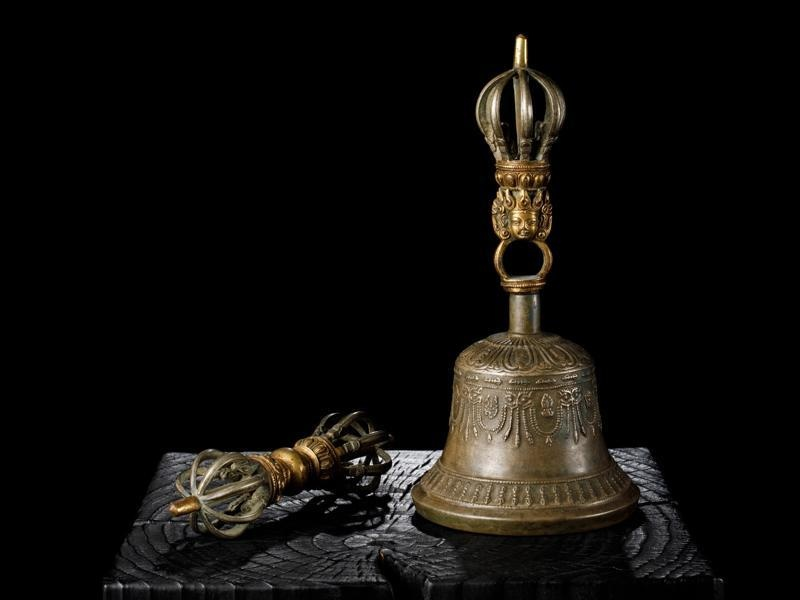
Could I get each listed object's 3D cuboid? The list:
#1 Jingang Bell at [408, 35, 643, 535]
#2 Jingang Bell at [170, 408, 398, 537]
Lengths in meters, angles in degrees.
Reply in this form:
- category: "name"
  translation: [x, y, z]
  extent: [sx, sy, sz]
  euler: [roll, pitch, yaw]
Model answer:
- category: "Jingang Bell"
  translation: [0.277, -0.025, 1.987]
  extent: [0.433, 1.066, 0.391]
  euler: [10, 17, 40]
- category: "Jingang Bell"
  translation: [-0.277, 0.403, 2.147]
  extent: [0.610, 0.208, 0.255]
  euler: [-10, 16, -36]
